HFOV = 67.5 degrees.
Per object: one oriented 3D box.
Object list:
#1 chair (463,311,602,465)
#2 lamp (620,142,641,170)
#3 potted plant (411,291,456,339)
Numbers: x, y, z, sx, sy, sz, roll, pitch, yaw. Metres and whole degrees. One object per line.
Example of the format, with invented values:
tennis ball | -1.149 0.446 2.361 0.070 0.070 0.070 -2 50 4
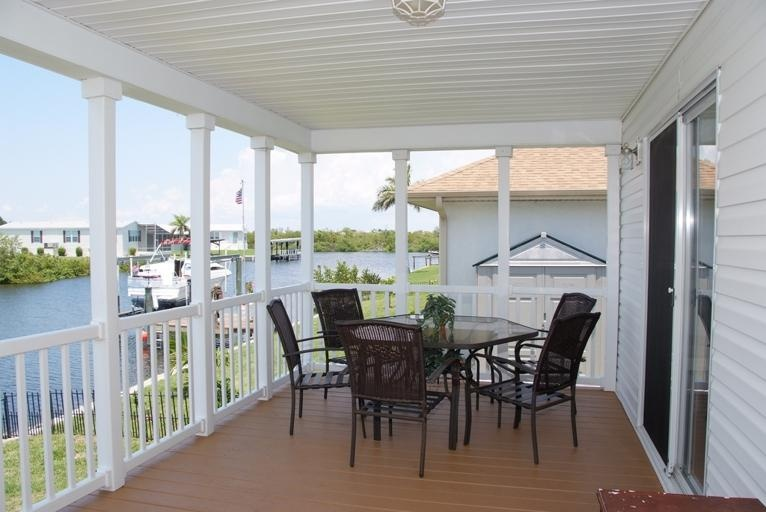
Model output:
chair | 1.279 1.058 4.907 0.921 1.239 0.776 3 3 44
lamp | 2.423 -0.969 5.616 0.143 0.251 1.056 2 9 20
potted plant | 0.516 0.547 5.328 0.324 0.335 0.320 -7 14 -34
